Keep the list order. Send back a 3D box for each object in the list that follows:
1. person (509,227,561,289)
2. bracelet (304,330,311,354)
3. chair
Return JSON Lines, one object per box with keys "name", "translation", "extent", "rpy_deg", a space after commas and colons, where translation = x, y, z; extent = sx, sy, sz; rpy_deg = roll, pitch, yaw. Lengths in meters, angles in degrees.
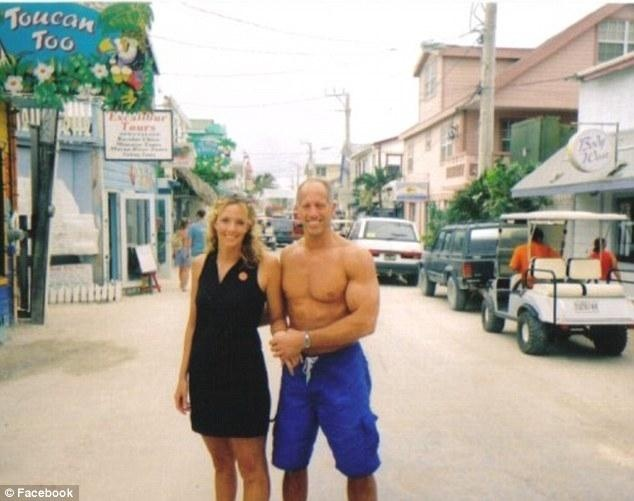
{"name": "person", "translation": [3.717, 0.162, 11.559], "extent": [0.734, 1.154, 0.537], "rpy_deg": [3, 17, 12]}
{"name": "bracelet", "translation": [-0.075, 0.706, 5.366], "extent": [0.063, 0.128, 0.103], "rpy_deg": [0, 5, 3]}
{"name": "chair", "translation": [4.033, 0.356, 10.304], "extent": [0.861, 0.592, 0.757], "rpy_deg": [0, -3, -4]}
